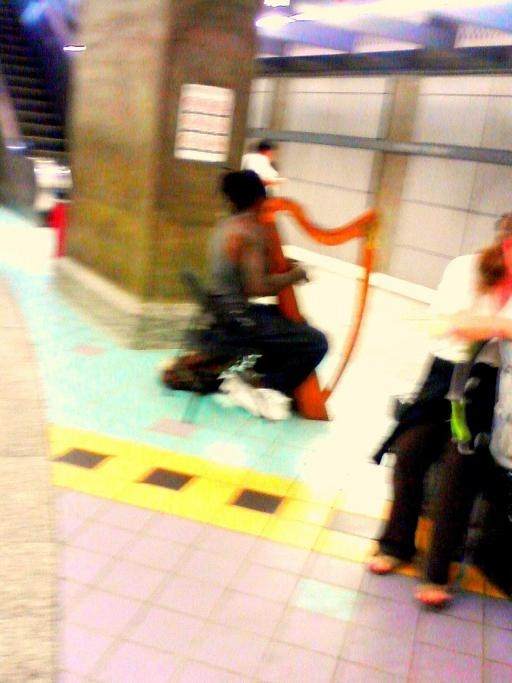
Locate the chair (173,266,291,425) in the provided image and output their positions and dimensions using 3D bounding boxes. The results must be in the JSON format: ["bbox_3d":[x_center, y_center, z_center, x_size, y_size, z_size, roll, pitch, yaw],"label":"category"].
[{"bbox_3d":[0.017,0.037,2.748,0.722,0.520,0.562,9,36,-15],"label":"chair"}]

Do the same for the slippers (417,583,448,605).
[{"bbox_3d":[0.456,0.657,1.406,0.066,0.016,0.043,9,48,11],"label":"slippers"}]

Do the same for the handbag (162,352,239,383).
[{"bbox_3d":[-0.298,0.143,2.675,0.260,0.042,0.174,-12,15,5],"label":"handbag"}]

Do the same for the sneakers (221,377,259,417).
[{"bbox_3d":[-0.064,0.246,2.617,0.057,0.195,0.138,-26,18,-38],"label":"sneakers"}]

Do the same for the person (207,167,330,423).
[{"bbox_3d":[0.060,-0.155,2.356,0.532,1.097,0.316,10,20,5],"label":"person"}]

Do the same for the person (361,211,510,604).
[{"bbox_3d":[0.472,0.196,1.323,0.254,1.014,0.298,8,20,1],"label":"person"}]
